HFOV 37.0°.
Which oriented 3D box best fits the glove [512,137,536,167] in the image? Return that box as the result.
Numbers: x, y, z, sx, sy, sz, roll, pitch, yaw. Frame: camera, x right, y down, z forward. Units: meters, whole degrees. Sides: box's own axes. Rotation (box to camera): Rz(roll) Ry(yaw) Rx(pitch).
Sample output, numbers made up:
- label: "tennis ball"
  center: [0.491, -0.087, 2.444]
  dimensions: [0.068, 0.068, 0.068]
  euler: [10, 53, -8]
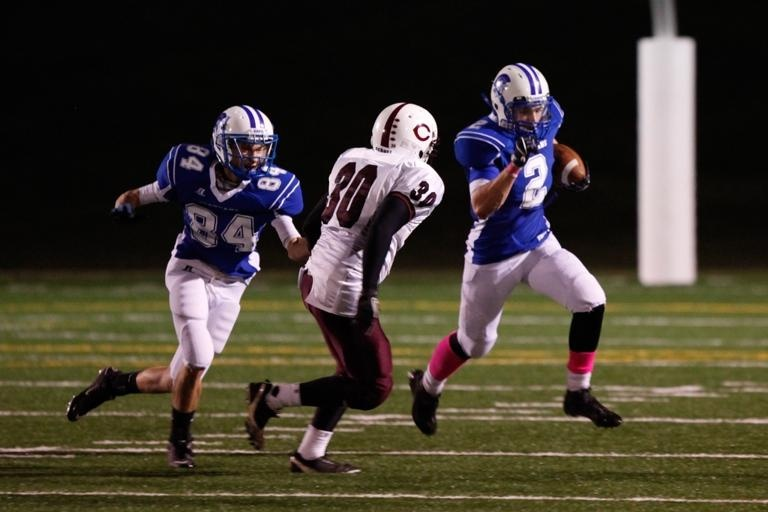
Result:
- label: "glove"
  center: [1.025, -0.757, 8.390]
  dimensions: [0.171, 0.219, 0.312]
  euler: [2, 11, 9]

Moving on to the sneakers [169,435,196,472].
- label: "sneakers"
  center: [-1.481, 1.449, 8.406]
  dimensions: [0.261, 0.162, 0.276]
  euler: [1, 49, -10]

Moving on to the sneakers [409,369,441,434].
- label: "sneakers"
  center: [0.228, 1.130, 8.866]
  dimensions: [0.209, 0.487, 0.230]
  euler: [0, -32, -24]

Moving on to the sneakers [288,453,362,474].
- label: "sneakers"
  center: [-0.424, 1.510, 8.386]
  dimensions: [0.492, 0.100, 0.173]
  euler: [0, -1, 3]

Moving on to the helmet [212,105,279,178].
- label: "helmet"
  center: [-1.024, -0.887, 8.703]
  dimensions: [0.517, 0.465, 0.599]
  euler: [-2, 23, -34]

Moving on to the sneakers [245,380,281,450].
- label: "sneakers"
  center: [-0.903, 1.146, 8.445]
  dimensions: [0.344, 0.496, 0.195]
  euler: [3, 1, 9]

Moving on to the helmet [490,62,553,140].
- label: "helmet"
  center: [0.845, -1.172, 8.681]
  dimensions: [0.524, 0.507, 0.602]
  euler: [-10, 21, -31]

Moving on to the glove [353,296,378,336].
- label: "glove"
  center: [-0.120, 0.414, 8.013]
  dimensions: [0.153, 0.285, 0.188]
  euler: [0, 12, -4]

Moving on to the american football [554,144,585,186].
- label: "american football"
  center: [1.432, -0.708, 9.060]
  dimensions: [0.354, 0.177, 0.258]
  euler: [39, 0, 1]

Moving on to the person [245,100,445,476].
- label: "person"
  center: [-0.271, 0.251, 8.273]
  dimensions: [1.451, 2.624, 0.809]
  euler: [-2, 13, -11]
